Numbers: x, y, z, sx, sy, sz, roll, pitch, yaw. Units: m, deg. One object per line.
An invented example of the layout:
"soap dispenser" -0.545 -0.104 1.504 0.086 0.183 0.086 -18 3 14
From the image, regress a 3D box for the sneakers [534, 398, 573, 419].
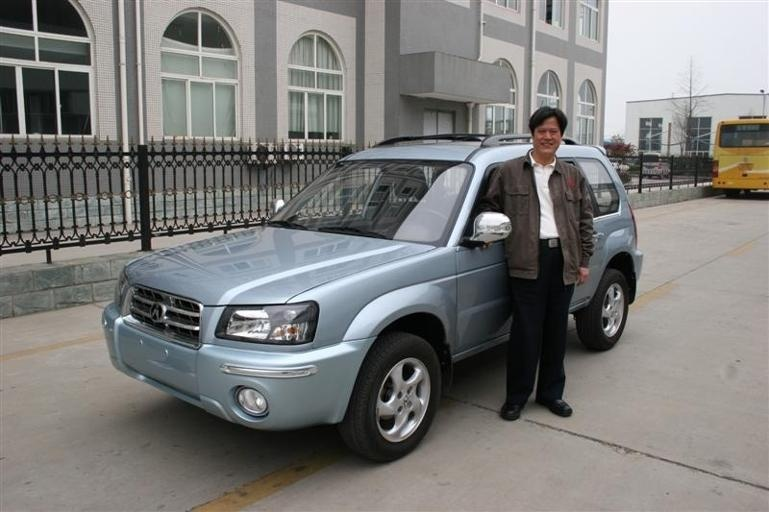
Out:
"sneakers" 1.510 1.359 4.588 0.116 0.134 0.333 -8 7 -39
